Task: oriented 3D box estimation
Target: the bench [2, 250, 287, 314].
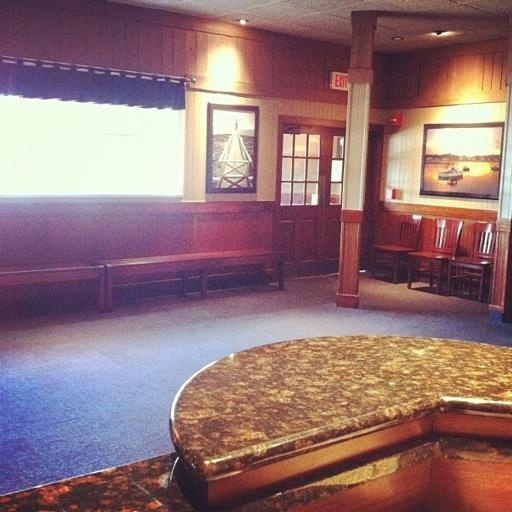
[{"bbox_3d":[-1.337,0.305,5.997,3.662,0.727,0.629,-8,7,-30],"label":"bench"}]
